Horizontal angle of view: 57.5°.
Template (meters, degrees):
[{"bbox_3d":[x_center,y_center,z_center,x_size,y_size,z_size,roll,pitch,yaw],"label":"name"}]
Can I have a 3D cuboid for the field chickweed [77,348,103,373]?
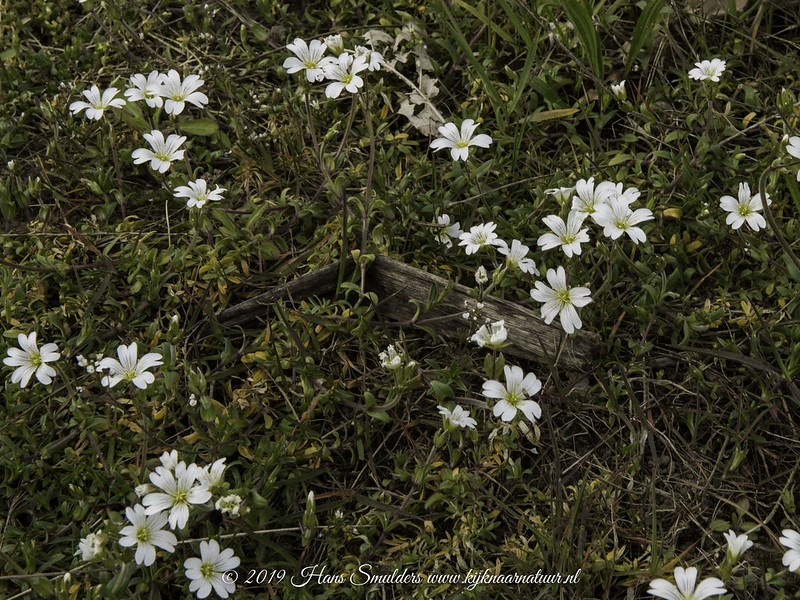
[{"bbox_3d":[-1.267,0.250,2.974,0.080,0.034,0.091,-13,52,0],"label":"field chickweed"}]

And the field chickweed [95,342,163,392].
[{"bbox_3d":[-1.028,0.286,2.773,0.199,0.081,0.241,1,27,17],"label":"field chickweed"}]

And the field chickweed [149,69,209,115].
[{"bbox_3d":[-1.013,-0.937,3.322,0.230,0.086,0.218,7,16,-18],"label":"field chickweed"}]

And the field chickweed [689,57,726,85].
[{"bbox_3d":[1.379,-1.019,3.266,0.144,0.069,0.168,-6,52,21],"label":"field chickweed"}]

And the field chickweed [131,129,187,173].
[{"bbox_3d":[-1.045,-0.644,3.249,0.159,0.161,0.095,-5,38,2],"label":"field chickweed"}]

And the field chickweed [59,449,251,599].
[{"bbox_3d":[-0.798,0.829,2.683,0.530,0.406,0.525,21,71,16],"label":"field chickweed"}]
